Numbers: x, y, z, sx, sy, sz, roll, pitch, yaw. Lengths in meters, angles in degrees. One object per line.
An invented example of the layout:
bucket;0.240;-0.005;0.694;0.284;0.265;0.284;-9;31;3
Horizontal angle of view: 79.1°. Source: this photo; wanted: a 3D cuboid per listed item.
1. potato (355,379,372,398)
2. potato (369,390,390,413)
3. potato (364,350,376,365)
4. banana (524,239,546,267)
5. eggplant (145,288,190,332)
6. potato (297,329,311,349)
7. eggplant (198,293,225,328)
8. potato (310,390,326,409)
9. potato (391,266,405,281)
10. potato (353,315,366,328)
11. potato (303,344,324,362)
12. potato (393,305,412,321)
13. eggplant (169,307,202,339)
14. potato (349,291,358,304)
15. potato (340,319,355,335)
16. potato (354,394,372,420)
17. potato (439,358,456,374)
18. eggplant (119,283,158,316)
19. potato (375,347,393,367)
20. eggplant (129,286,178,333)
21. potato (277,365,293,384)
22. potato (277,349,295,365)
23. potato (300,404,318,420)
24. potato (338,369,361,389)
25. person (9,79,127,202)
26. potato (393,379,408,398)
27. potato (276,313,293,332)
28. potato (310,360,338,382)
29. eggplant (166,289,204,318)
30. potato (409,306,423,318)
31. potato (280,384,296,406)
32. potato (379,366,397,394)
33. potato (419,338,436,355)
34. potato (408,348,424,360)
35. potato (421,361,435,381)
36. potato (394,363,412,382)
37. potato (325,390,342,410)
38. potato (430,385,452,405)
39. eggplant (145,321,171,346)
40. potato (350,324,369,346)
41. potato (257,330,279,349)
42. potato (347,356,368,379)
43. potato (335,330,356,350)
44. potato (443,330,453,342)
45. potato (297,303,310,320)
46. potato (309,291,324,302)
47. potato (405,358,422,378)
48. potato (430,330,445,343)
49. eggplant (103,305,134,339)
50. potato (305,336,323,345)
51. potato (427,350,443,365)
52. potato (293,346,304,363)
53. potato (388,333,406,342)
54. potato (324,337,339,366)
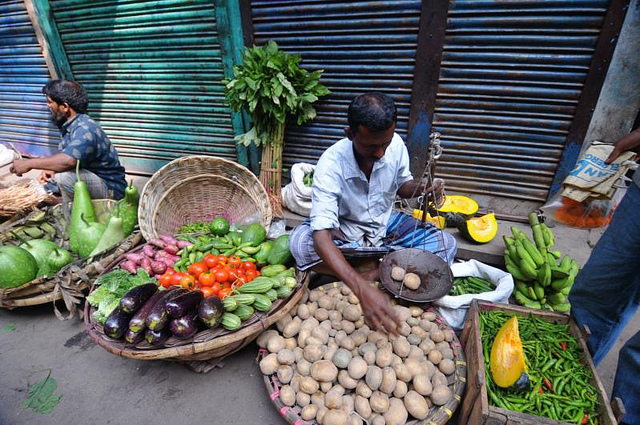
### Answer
potato;0.384;1.571;3.438;0.095;0.069;0.126;-11;51;-3
potato;0.517;1.649;3.361;0.151;0.088;0.163;1;64;5
potato;0.455;1.327;3.536;0.102;0.054;0.104;26;85;0
banana;2.295;0.439;4.196;0.086;0.105;0.319;-31;41;18
eggplant;-1.392;0.863;3.564;0.180;0.197;0.450;18;37;17
potato;-0.151;1.202;3.696;0.108;0.078;0.148;14;76;-18
eggplant;-1.024;0.919;3.667;0.261;0.249;0.399;6;17;-20
potato;-0.006;1.653;3.421;0.113;0.057;0.128;-18;42;-29
potato;0.800;0.628;3.989;0.128;0.090;0.130;14;36;11
potato;0.390;1.075;3.807;0.093;0.060;0.110;-36;19;-33
potato;-0.051;1.296;3.561;0.164;0.093;0.128;9;75;12
potato;0.825;0.993;3.818;0.128;0.125;0.068;52;17;15
eggplant;-1.294;1.040;3.694;0.227;0.209;0.524;9;4;-12
potato;0.343;0.879;3.948;0.146;0.119;0.082;36;75;1
potato;0.259;1.120;3.778;0.123;0.067;0.118;17;11;-44
potato;0.365;1.712;3.411;0.109;0.103;0.165;12;19;-32
potato;1.156;1.400;3.554;0.125;0.117;0.120;6;65;-51
eggplant;-1.682;0.809;3.659;0.154;0.134;0.345;15;26;20
potato;0.590;1.317;3.521;0.128;0.085;0.155;0;84;-21
eggplant;-1.489;0.812;3.772;0.207;0.206;0.781;17;31;-14
potato;-0.322;1.469;3.530;0.121;0.079;0.136;12;83;1
potato;-0.308;1.343;3.585;0.141;0.112;0.107;6;15;20
potato;-0.092;1.745;3.411;0.125;0.097;0.093;-20;50;-32
potato;0.262;1.500;3.469;0.160;0.090;0.135;15;46;30
person;-3.597;-1.088;5.651;1.368;1.978;1.056;-10;56;-32
potato;0.711;1.562;3.414;0.106;0.077;0.138;1;84;-5
potato;-0.349;1.089;3.856;0.120;0.093;0.158;38;72;12
potato;0.035;1.433;3.490;0.242;0.126;0.143;4;35;-2
eggplant;-1.234;0.833;3.596;0.134;0.129;0.325;20;25;35
potato;0.949;0.991;3.849;0.098;0.051;0.096;6;-2;-35
potato;-0.276;1.615;3.424;0.114;0.092;0.151;-8;74;-11
potato;0.600;1.489;3.419;0.140;0.111;0.196;19;69;-34
potato;1.012;1.256;3.645;0.108;0.070;0.125;-16;46;-15
potato;0.898;1.315;3.632;0.102;0.095;0.094;31;30;-14
potato;0.989;1.436;3.510;0.074;0.111;0.132;-8;60;-44
potato;0.743;1.430;3.466;0.112;0.083;0.150;-32;83;5
potato;0.121;1.642;3.385;0.151;0.082;0.139;6;35;1
potato;1.050;1.604;3.377;0.169;0.129;0.131;1;68;-7
eggplant;-1.443;1.093;3.465;0.111;0.232;0.098;26;40;-33
potato;0.391;1.172;3.697;0.122;0.074;0.157;20;55;19
potato;-0.504;1.230;3.793;0.179;0.102;0.138;-9;5;-20
potato;0.343;1.394;3.472;0.143;0.094;0.168;-3;50;-7
potato;0.234;1.215;3.672;0.121;0.086;0.156;-37;62;-13
potato;1.226;1.182;3.700;0.067;0.052;0.088;-23;72;-17
potato;-0.156;0.997;3.887;0.093;0.078;0.126;-16;61;-15
potato;-0.043;0.868;4.013;0.112;0.064;0.085;-11;46;-5
potato;0.852;1.397;3.491;0.141;0.108;0.110;22;63;-8
potato;1.122;1.186;3.689;0.105;0.060;0.105;18;74;1
eggplant;-1.823;1.021;3.524;0.210;0.213;0.213;23;39;23
potato;-0.053;1.208;3.645;0.096;0.051;0.083;10;-1;5
potato;1.050;1.338;3.597;0.113;0.135;0.113;-5;37;1
potato;-0.200;1.328;3.589;0.082;0.060;0.107;-2;65;12
potato;0.713;1.175;3.641;0.174;0.066;0.135;4;13;7
potato;0.107;1.277;3.628;0.123;0.090;0.162;21;47;-25
